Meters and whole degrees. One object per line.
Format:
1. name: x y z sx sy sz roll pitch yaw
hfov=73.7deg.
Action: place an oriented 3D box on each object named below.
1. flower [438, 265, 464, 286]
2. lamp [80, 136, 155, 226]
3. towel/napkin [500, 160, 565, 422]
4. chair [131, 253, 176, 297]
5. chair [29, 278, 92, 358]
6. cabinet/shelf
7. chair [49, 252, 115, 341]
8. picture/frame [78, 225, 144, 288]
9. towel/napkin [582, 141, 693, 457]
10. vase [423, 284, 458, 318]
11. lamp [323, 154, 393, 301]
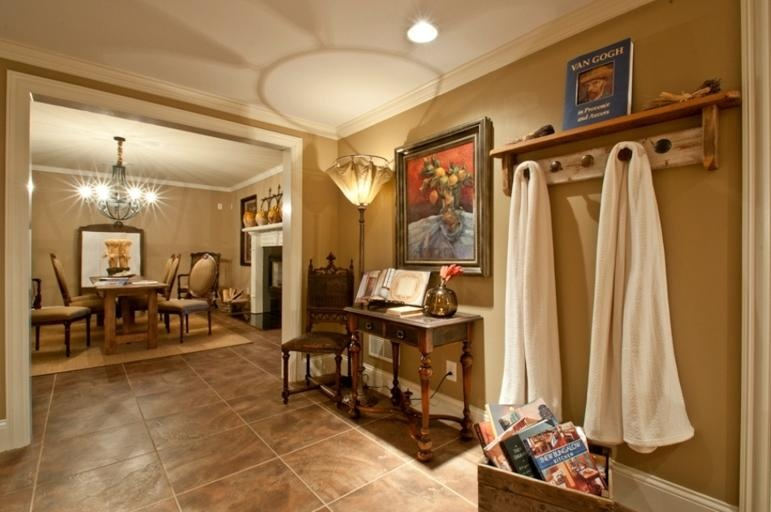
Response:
1. flower: 0.587 0.169 4.488 0.193 0.186 0.376 1 1 8
2. lamp: -4.185 -1.146 8.162 1.286 1.451 1.269 3 -4 -31
3. towel/napkin: 1.149 0.248 4.010 0.448 1.960 0.217 1 2 13
4. chair: -3.366 0.383 7.576 0.472 0.765 0.487 -2 -5 35
5. chair: -4.111 0.683 6.366 0.691 0.962 0.687 2 1 -1
6. cabinet/shelf: 0.207 1.023 4.660 1.139 1.086 0.796 5 6 45
7. chair: -4.163 0.597 6.959 0.553 0.942 0.542 27 18 31
8. picture/frame: -4.467 0.009 8.219 1.052 1.239 0.089 -1 4 -39
9. towel/napkin: 1.794 0.311 3.796 0.496 2.204 0.701 1 -1 -43
10. vase: 0.465 0.387 4.414 0.273 0.255 0.268 7 -6 -33
11. lamp: -0.331 -0.403 5.244 0.605 1.347 0.691 0 2 -34
